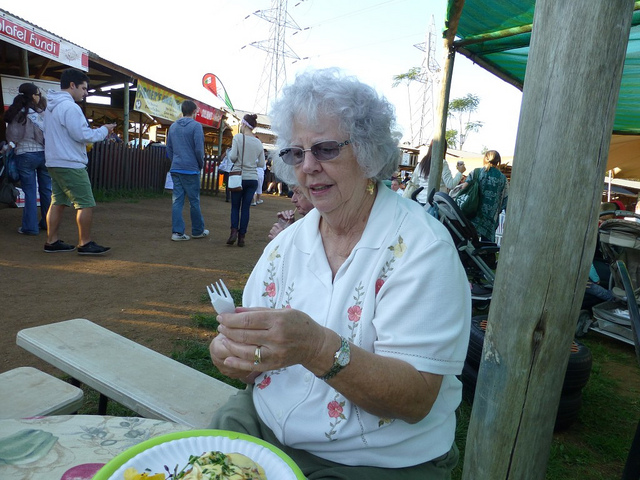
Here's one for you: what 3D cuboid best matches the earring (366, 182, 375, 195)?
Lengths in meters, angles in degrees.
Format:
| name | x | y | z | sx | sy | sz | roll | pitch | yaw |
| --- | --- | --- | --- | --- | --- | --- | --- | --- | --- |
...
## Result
| name | x | y | z | sx | sy | sz | roll | pitch | yaw |
| --- | --- | --- | --- | --- | --- | --- | --- | --- | --- |
| earring | 0.234 | -0.236 | 1.894 | 0.024 | 0.052 | 0.065 | 12 | 13 | 31 |

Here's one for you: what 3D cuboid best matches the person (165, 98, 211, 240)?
| name | x | y | z | sx | sy | sz | roll | pitch | yaw |
| --- | --- | --- | --- | --- | --- | --- | --- | --- | --- |
| person | -2.512 | -1.230 | 7.707 | 0.652 | 2.563 | 0.719 | 1 | 12 | -22 |

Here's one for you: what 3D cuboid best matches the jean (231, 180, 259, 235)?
| name | x | y | z | sx | sy | sz | roll | pitch | yaw |
| --- | --- | --- | --- | --- | --- | --- | --- | --- | --- |
| jean | -1.473 | -0.622 | 7.915 | 0.463 | 1.116 | 0.748 | 3 | 11 | -12 |

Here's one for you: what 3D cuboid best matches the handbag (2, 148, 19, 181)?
| name | x | y | z | sx | sy | sz | roll | pitch | yaw |
| --- | --- | --- | --- | --- | --- | --- | --- | --- | --- |
| handbag | -5.164 | -1.237 | 6.908 | 0.334 | 0.456 | 0.140 | 1 | 10 | 29 |

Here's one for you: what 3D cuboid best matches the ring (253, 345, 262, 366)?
| name | x | y | z | sx | sy | sz | roll | pitch | yaw |
| --- | --- | --- | --- | --- | --- | --- | --- | --- | --- |
| ring | -0.208 | 0.383 | 1.384 | 0.022 | 0.054 | 0.037 | 5 | -4 | -23 |

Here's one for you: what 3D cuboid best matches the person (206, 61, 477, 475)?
| name | x | y | z | sx | sy | sz | roll | pitch | yaw |
| --- | --- | --- | --- | --- | --- | --- | --- | --- | --- |
| person | 0.113 | 0.061 | 1.721 | 1.031 | 1.547 | 0.806 | 5 | 11 | -6 |

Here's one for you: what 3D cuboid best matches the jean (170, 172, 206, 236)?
| name | x | y | z | sx | sy | sz | roll | pitch | yaw |
| --- | --- | --- | --- | --- | --- | --- | --- | --- | --- |
| jean | -2.542 | -0.661 | 7.907 | 0.569 | 1.279 | 0.749 | 2 | 11 | -18 |

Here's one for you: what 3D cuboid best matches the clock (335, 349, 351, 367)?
| name | x | y | z | sx | sy | sz | roll | pitch | yaw |
| --- | --- | --- | --- | --- | --- | --- | --- | --- | --- |
| clock | 0.077 | 0.388 | 1.407 | 0.048 | 0.071 | 0.050 | 2 | 7 | -23 |

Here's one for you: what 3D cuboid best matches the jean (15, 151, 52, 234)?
| name | x | y | z | sx | sy | sz | roll | pitch | yaw |
| --- | --- | --- | --- | --- | --- | --- | --- | --- | --- |
| jean | -4.825 | -0.883 | 7.062 | 0.381 | 1.387 | 0.520 | 13 | 16 | 25 |
